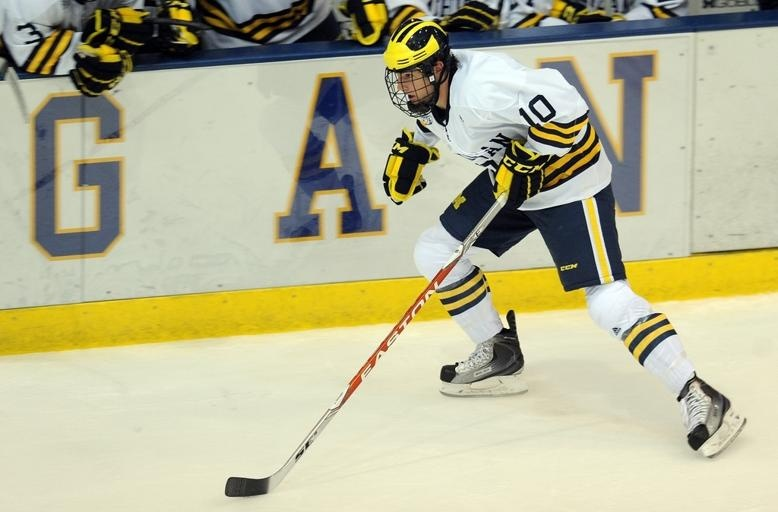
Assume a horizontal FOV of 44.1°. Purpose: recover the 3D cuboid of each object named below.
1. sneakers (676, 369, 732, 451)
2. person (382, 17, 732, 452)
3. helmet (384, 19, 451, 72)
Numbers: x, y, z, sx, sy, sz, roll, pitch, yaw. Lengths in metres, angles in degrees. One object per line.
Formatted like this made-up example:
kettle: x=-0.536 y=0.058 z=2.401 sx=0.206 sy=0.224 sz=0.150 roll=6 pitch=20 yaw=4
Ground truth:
sneakers: x=1.314 y=0.670 z=3.979 sx=0.217 sy=0.308 sz=0.150 roll=-4 pitch=12 yaw=14
person: x=0.774 y=-0.114 z=4.531 sx=1.096 sy=1.479 sz=1.564 roll=-19 pitch=30 yaw=-16
helmet: x=0.109 y=-0.887 z=4.031 sx=0.272 sy=0.203 sz=0.193 roll=-24 pitch=28 yaw=-3
